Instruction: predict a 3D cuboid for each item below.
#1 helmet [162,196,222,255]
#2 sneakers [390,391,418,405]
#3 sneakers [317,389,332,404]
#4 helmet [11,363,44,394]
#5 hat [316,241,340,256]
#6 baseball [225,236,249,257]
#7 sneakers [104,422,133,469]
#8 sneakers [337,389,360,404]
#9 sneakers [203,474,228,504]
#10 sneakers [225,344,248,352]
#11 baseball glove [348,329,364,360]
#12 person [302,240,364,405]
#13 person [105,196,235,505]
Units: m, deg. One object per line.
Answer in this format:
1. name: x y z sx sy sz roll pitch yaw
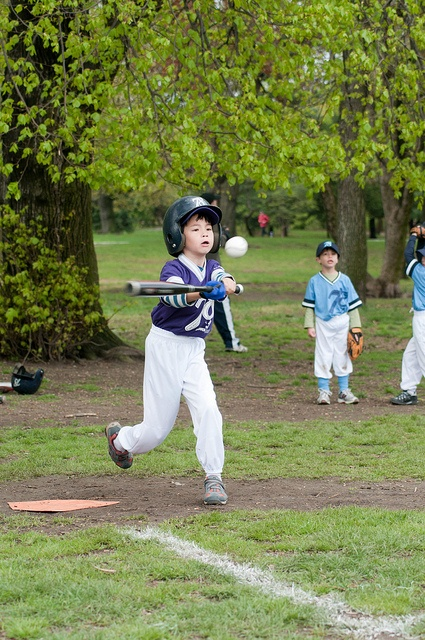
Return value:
1. helmet: -0.120 -0.522 5.373 0.325 0.280 0.372 5 -17 -30
2. sneakers: 1.776 0.735 8.566 0.311 0.131 0.096 2 -2 -13
3. sneakers: 1.038 0.713 8.563 0.135 0.125 0.307 0 -5 4
4. helmet: -1.682 0.541 8.458 0.270 0.246 0.275 8 -21 2
5. hat: 1.106 -0.650 8.393 0.215 0.134 0.321 0 0 6
6. baseball: 0.160 -0.481 5.944 0.153 0.137 0.148 2 -12 -5
7. sneakers: -0.595 0.797 5.646 0.130 0.307 0.145 -19 16 -21
8. sneakers: 1.268 0.714 8.615 0.101 0.104 0.225 -1 -4 -32
9. sneakers: 0.016 0.953 5.201 0.130 0.146 0.198 -2 4 1
10. sneakers: 0.308 0.354 11.607 0.310 0.119 0.106 0 1 -5
11. baseball glove: 1.323 0.219 8.536 0.168 0.245 0.064 0 -3 16
12. person: 1.114 0.025 8.528 0.535 1.506 0.630 -1 5 6
13. person: -0.243 0.158 5.271 0.797 1.746 0.628 -1 5 9
